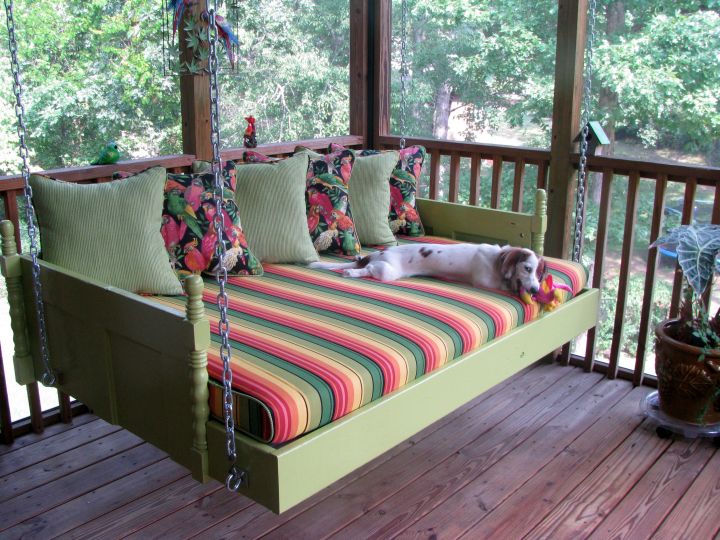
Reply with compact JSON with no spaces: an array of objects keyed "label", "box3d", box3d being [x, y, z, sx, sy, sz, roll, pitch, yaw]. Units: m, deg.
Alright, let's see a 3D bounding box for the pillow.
[{"label":"pillow","box3d":[-0.566,-0.267,2.689,1.773,0.546,0.353,-15,23,-35]}]
